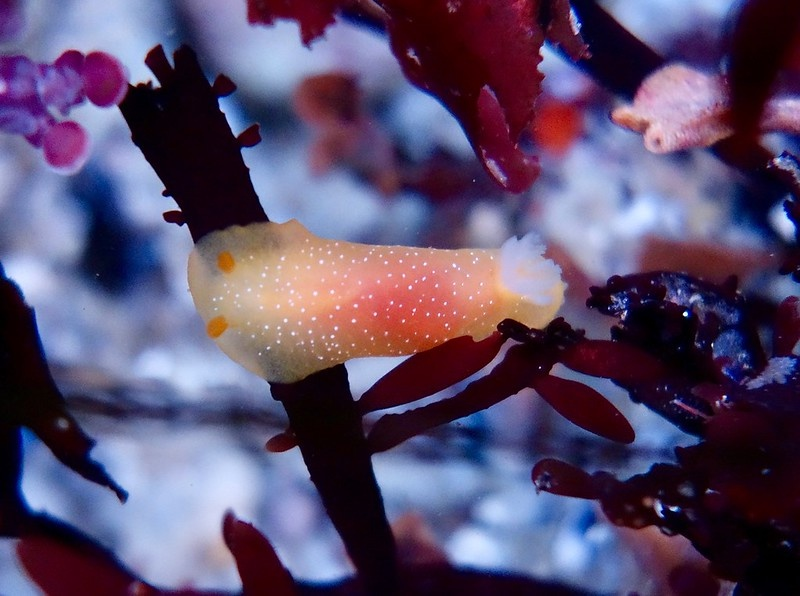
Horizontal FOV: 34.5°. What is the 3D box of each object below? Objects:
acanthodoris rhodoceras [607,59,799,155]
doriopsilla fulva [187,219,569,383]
[{"bbox_3d":[0.416,-0.258,1.818,0.266,0.077,0.116,1,103,1],"label":"acanthodoris rhodoceras"},{"bbox_3d":[-0.034,-0.018,1.869,0.537,0.052,0.231,-8,82,1],"label":"doriopsilla fulva"}]
